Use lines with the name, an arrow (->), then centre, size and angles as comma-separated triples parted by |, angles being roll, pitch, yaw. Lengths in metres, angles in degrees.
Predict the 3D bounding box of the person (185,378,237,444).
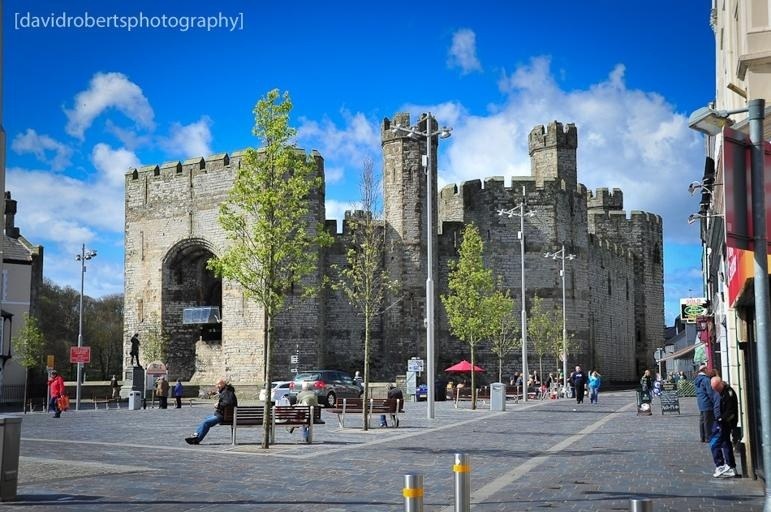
person -> -5.073, 4.694, 33.153 | 1.351, 2.034, 0.948 | -1, -4, 10

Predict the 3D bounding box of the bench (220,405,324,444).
bench -> -3.512, 5.100, 33.314 | 2.888, 1.163, 0.968 | 1, -6, -14

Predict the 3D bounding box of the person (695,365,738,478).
person -> 8.649, 4.240, 27.893 | 0.895, 2.526, 0.949 | -6, 0, -3

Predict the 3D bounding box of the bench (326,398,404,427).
bench -> -0.609, 5.589, 39.048 | 2.245, 1.110, 5.415 | -3, -9, -1

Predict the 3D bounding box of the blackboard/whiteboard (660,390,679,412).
blackboard/whiteboard -> 11.224, 5.680, 43.182 | 0.927, 1.179, 0.719 | -2, -11, 10

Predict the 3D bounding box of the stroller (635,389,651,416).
stroller -> 10.205, 5.777, 43.181 | 0.475, 0.924, 0.744 | -6, -10, 17

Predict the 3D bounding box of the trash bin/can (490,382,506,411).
trash bin/can -> 4.716, 5.925, 46.206 | 0.664, 1.142, 1.015 | -3, -9, 2

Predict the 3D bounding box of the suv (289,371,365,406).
suv -> -2.633, 6.090, 50.901 | 2.235, 1.521, 4.124 | -4, -5, 29
